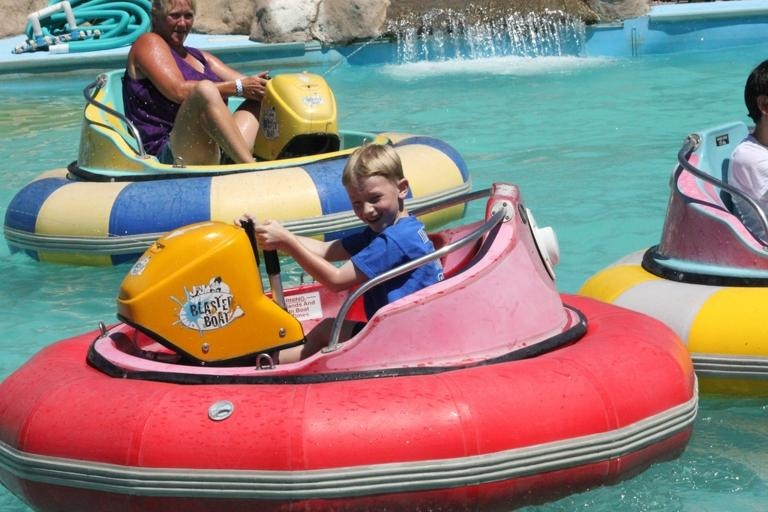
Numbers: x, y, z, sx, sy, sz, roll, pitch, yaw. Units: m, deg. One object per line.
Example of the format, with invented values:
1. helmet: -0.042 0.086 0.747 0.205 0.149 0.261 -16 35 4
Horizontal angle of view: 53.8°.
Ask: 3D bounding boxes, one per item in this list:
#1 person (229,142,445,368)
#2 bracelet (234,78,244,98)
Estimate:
1. person: -0.145 -0.021 3.006 0.702 0.809 0.428 -7 22 -10
2. bracelet: -0.938 -1.094 4.884 0.077 0.086 0.105 -2 13 -14
